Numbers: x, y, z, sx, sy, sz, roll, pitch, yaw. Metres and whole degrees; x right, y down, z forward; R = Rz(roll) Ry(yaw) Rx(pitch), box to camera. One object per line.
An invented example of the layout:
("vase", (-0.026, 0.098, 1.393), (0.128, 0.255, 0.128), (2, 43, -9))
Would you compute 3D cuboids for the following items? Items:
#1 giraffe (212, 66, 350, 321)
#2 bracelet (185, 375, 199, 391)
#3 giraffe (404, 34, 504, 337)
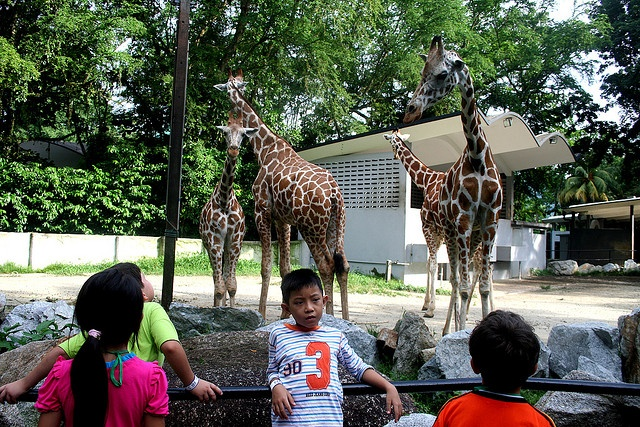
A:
("giraffe", (-0.548, -0.358, 10.537), (2.119, 4.625, 1.060), (-1, -3, 10))
("bracelet", (-1.365, 1.810, 5.996), (0.110, 0.044, 0.095), (-45, 9, 5))
("giraffe", (2.320, -0.348, 9.343), (1.306, 4.788, 1.848), (-2, -3, 22))
